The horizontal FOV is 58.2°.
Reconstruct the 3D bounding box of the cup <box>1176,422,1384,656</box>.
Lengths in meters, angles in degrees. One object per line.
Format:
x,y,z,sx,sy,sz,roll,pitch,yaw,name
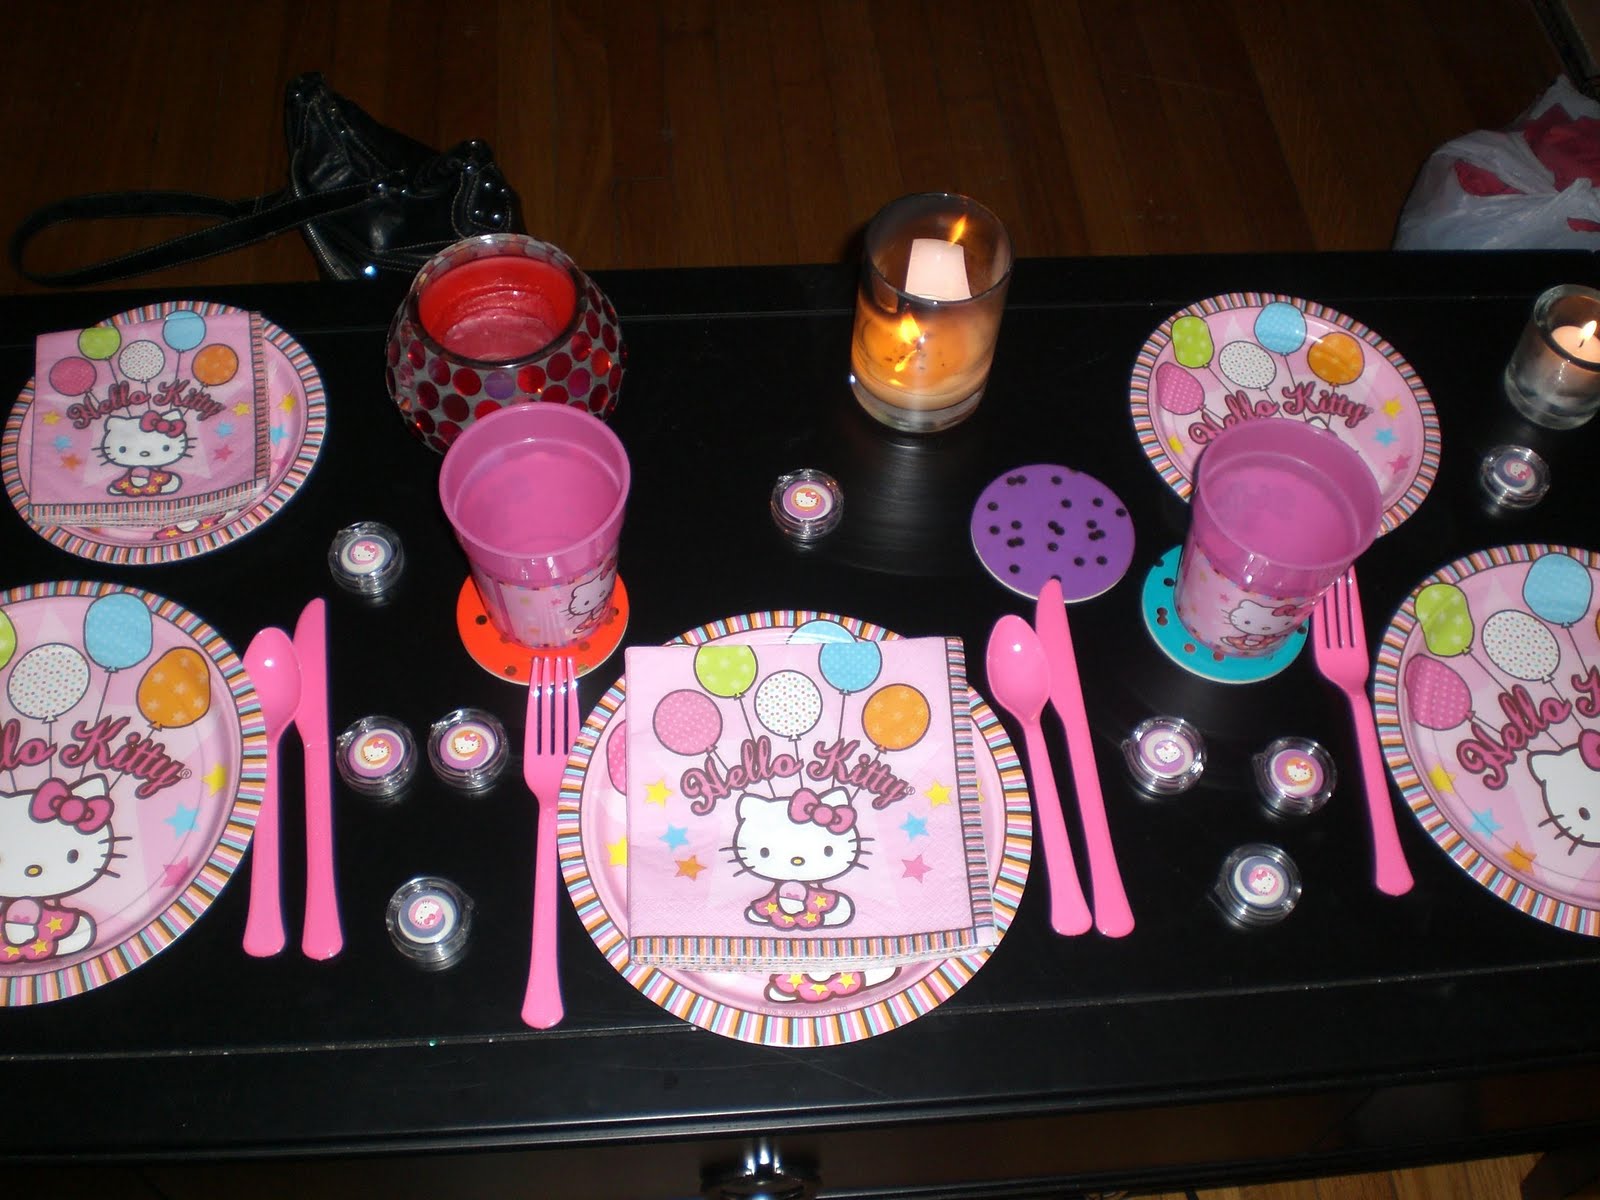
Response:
0.360,-0.058,1.164,0.142,0.183,0.185,1,64,7,cup

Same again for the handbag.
-0.467,-0.491,1.758,0.284,0.123,0.303,-3,71,-12,handbag

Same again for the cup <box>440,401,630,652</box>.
-0.207,-0.058,1.117,0.103,0.122,0.114,-27,69,-20,cup

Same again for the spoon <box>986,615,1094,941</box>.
0.185,0.117,1.123,0.046,0.033,0.283,0,61,-9,spoon

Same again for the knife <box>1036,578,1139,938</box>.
0.225,0.118,1.118,0.039,0.014,0.313,1,62,-10,knife

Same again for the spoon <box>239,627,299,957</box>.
-0.412,0.137,1.100,0.056,0.030,0.380,0,32,-19,spoon

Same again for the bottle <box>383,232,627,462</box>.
-0.243,-0.224,1.242,0.162,0.127,0.208,-3,83,-4,bottle

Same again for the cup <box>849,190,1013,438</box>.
0.120,-0.266,1.298,0.155,0.196,0.180,13,58,8,cup

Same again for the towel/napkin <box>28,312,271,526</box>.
-0.543,-0.159,1.205,0.167,0.038,0.195,-4,71,-9,towel/napkin

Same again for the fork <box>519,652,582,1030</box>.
-0.190,0.170,1.094,0.034,0.031,0.298,0,72,-3,fork

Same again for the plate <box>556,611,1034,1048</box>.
-0.005,0.192,1.082,0.360,0.070,0.263,1,60,1,plate
